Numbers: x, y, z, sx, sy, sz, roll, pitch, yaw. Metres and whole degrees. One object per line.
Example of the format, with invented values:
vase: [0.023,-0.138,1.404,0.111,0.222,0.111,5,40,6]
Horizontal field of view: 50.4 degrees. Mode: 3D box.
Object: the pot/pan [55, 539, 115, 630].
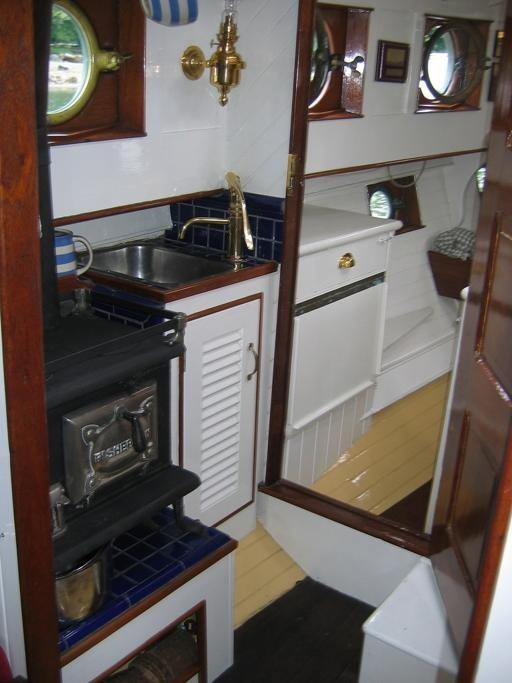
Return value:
pot/pan: [-0.340,0.494,1.101,0.046,0.114,0.149,14,23,29]
